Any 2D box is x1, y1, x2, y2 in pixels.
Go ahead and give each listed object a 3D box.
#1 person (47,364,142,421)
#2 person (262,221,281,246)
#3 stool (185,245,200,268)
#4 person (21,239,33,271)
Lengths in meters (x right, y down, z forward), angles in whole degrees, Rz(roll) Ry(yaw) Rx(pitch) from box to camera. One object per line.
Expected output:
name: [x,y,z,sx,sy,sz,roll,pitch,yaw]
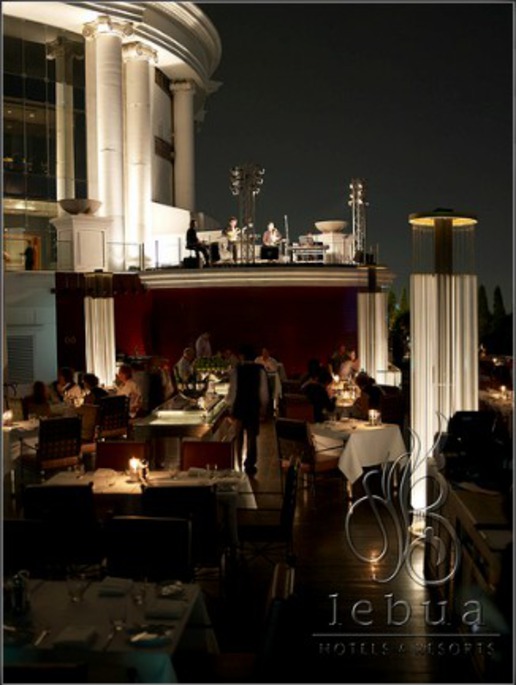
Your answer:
person: [-2.797,0.798,10.939,1.027,0.721,1.109,0,-4,2]
person: [0.506,-3.621,20.987,0.644,1.052,0.295,4,-9,9]
stool: [-1.966,-2.622,19.353,0.405,0.565,0.487,-1,1,-6]
person: [-7.696,-2.958,21.201,0.360,1.046,1.157,-1,1,-20]
